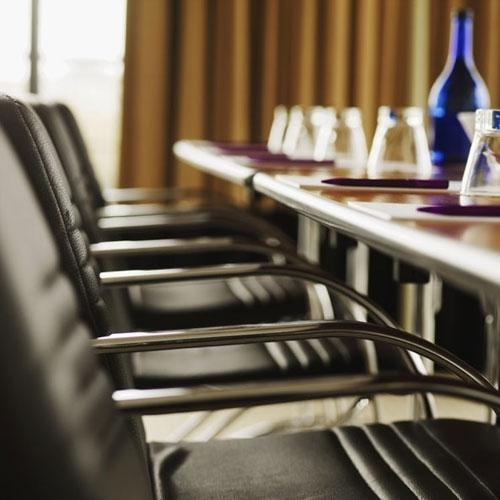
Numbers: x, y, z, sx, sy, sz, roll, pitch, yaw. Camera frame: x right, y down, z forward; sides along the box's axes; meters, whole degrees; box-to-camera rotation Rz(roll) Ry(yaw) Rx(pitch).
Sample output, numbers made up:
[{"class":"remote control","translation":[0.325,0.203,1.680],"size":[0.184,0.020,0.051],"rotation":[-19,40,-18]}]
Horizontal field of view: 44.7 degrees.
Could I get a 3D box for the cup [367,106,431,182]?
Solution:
[{"class":"cup","translation":[0.197,-0.142,0.853],"size":[0.088,0.116,0.113],"rotation":[-1,3,-3]}]
